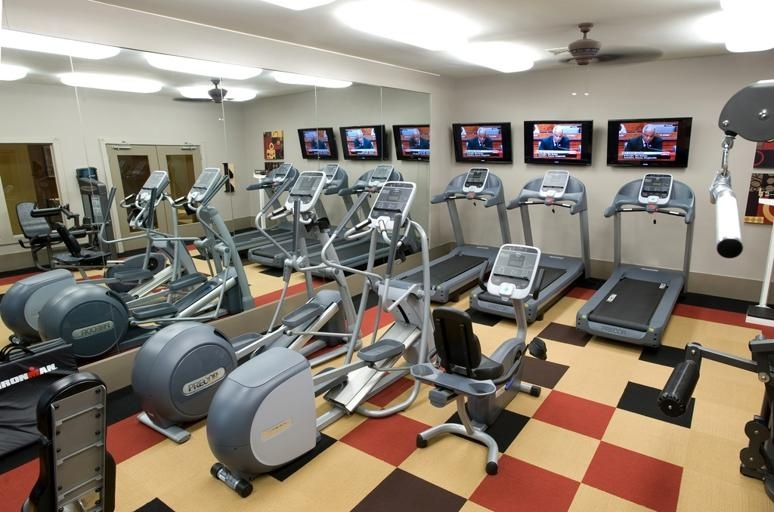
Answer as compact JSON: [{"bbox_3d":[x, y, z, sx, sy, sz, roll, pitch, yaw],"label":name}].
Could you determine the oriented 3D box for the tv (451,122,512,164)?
[{"bbox_3d":[1.592,-1.858,8.274,1.021,0.576,0.080,6,16,34],"label":"tv"}]

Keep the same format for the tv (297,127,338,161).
[{"bbox_3d":[-0.950,-1.507,6.746,0.469,0.390,0.060,-18,21,-41],"label":"tv"}]

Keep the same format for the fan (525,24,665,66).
[{"bbox_3d":[2.636,-2.539,6.216,0.988,0.381,2.017,11,21,39],"label":"fan"}]

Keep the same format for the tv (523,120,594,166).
[{"bbox_3d":[2.596,-1.715,7.715,0.976,0.672,0.144,8,20,31],"label":"tv"}]
